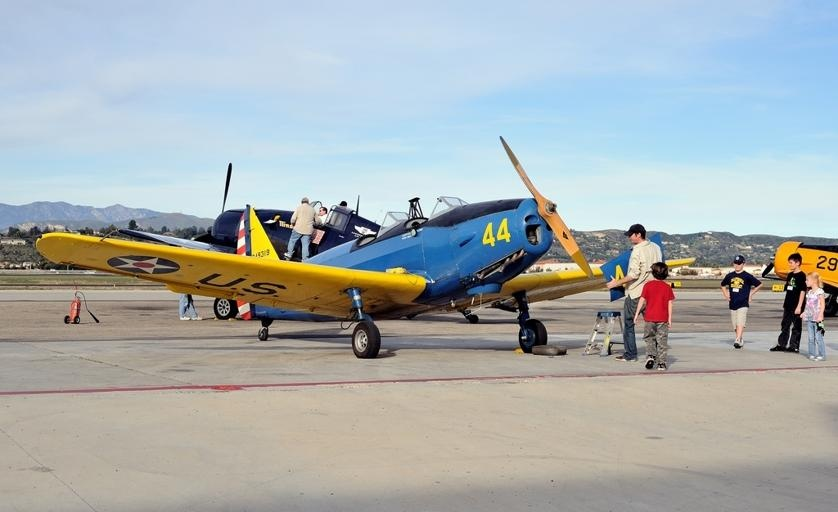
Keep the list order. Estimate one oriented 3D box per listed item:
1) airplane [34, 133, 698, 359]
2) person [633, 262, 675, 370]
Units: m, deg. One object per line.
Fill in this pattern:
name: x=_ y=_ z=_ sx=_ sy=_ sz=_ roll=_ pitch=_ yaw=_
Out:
airplane: x=-1.026 y=-0.101 z=11.852 sx=9.172 sy=3.535 sz=3.405 roll=0 pitch=1 yaw=-10
person: x=3.553 y=0.893 z=10.387 sx=0.537 sy=1.581 sz=1.021 roll=1 pitch=1 yaw=17
